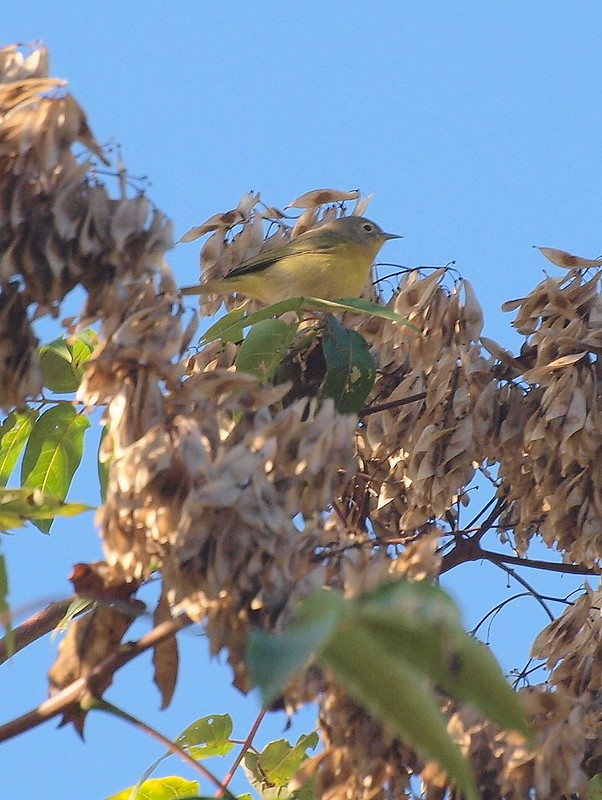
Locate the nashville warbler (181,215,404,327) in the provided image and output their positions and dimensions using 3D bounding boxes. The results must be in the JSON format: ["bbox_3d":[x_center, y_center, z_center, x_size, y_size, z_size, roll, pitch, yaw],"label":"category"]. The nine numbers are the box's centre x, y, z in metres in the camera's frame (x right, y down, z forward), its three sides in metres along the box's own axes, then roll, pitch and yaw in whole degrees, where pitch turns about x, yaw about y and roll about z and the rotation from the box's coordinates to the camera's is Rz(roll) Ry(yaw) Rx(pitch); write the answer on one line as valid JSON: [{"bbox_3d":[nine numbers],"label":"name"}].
[{"bbox_3d":[0.007,-0.295,4.460,0.177,0.250,0.813,3,-3,20],"label":"nashville warbler"}]
